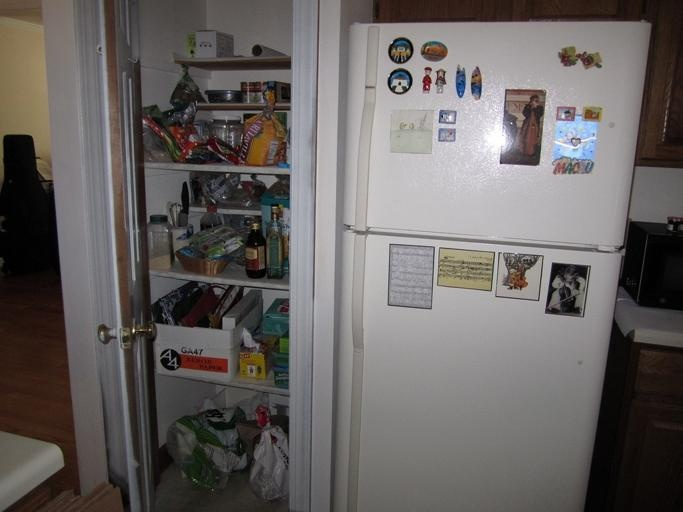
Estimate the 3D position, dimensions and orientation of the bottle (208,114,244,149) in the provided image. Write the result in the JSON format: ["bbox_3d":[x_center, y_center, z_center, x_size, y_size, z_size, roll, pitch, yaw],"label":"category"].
[{"bbox_3d":[-0.585,-0.656,2.754,0.165,0.194,0.171,-13,21,-42],"label":"bottle"}]

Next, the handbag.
[{"bbox_3d":[-0.724,0.249,2.723,0.251,0.091,0.270,7,17,19],"label":"handbag"}]

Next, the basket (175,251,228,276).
[{"bbox_3d":[-0.690,0.032,2.559,0.257,0.099,0.085,5,13,8],"label":"basket"}]

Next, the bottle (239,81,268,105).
[{"bbox_3d":[-0.466,-0.865,2.786,0.109,0.156,0.157,2,15,4],"label":"bottle"}]

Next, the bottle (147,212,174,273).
[{"bbox_3d":[-0.900,-0.080,2.632,0.110,0.262,0.139,1,12,-6],"label":"bottle"}]

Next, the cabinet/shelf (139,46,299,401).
[{"bbox_3d":[-0.613,-0.226,2.751,0.749,1.590,0.846,2,12,-3],"label":"cabinet/shelf"}]

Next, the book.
[{"bbox_3d":[-0.721,0.249,2.721,0.298,0.094,0.296,7,21,12],"label":"book"}]

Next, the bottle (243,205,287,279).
[{"bbox_3d":[-0.366,-0.081,2.560,0.189,0.347,0.210,1,12,-6],"label":"bottle"}]
